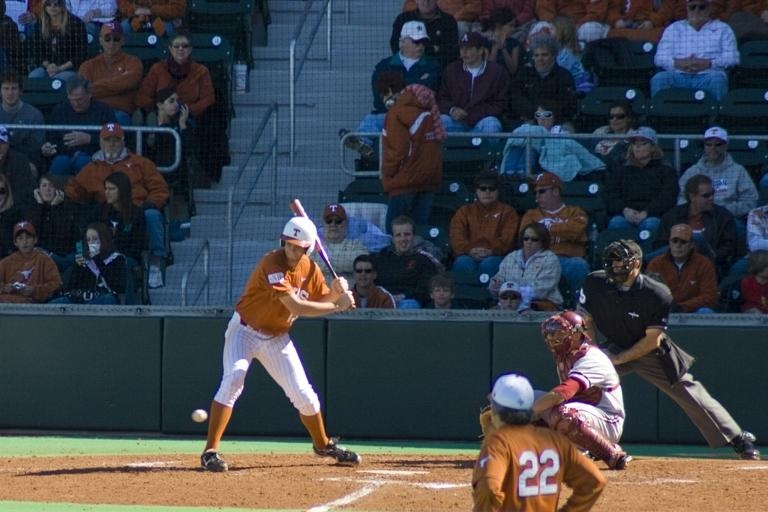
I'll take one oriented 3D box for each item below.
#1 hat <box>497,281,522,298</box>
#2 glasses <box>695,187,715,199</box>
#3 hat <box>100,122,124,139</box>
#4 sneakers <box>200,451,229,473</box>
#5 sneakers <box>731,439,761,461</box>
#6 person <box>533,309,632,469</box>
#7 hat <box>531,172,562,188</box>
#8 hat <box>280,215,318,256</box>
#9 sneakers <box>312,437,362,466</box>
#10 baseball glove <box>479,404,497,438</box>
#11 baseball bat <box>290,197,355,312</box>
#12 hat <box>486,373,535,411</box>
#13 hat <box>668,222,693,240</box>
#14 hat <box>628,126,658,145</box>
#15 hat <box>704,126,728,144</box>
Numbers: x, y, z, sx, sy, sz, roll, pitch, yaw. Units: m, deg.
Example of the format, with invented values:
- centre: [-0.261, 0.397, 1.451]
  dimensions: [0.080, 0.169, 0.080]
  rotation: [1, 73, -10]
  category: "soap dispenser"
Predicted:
- centre: [1.473, 0.408, 21.572]
  dimensions: [0.221, 0.180, 0.385]
  rotation: [2, -15, 3]
  category: "hat"
- centre: [3.819, -0.762, 21.833]
  dimensions: [0.170, 0.137, 0.044]
  rotation: [1, 13, 1]
  category: "glasses"
- centre: [-3.315, -1.549, 22.440]
  dimensions: [0.223, 0.183, 0.382]
  rotation: [1, -3, -7]
  category: "hat"
- centre: [-1.846, 2.233, 19.866]
  dimensions: [0.316, 0.154, 0.169]
  rotation: [25, 37, -1]
  category: "sneakers"
- centre: [3.999, 2.141, 20.330]
  dimensions: [0.274, 0.105, 0.126]
  rotation: [35, 15, 23]
  category: "sneakers"
- centre: [2.053, 1.393, 19.608]
  dimensions: [1.048, 1.687, 1.196]
  rotation: [-4, 7, -11]
  category: "person"
- centre: [1.986, -0.916, 22.038]
  dimensions: [0.233, 0.139, 0.184]
  rotation: [6, 1, -2]
  category: "hat"
- centre: [-0.910, -0.237, 19.914]
  dimensions: [0.345, 0.315, 0.549]
  rotation: [9, -8, 18]
  category: "hat"
- centre: [-0.486, 2.146, 20.251]
  dimensions: [0.597, 0.297, 0.231]
  rotation: [14, 26, -4]
  category: "sneakers"
- centre: [1.091, 1.739, 19.506]
  dimensions: [0.236, 0.330, 0.331]
  rotation: [-2, 8, -1]
  category: "baseball glove"
- centre: [-0.678, 0.018, 20.768]
  dimensions: [0.181, 1.426, 0.071]
  rotation: [-23, 2, 5]
  category: "baseball bat"
- centre: [1.242, 1.341, 18.243]
  dimensions: [0.590, 0.391, 0.481]
  rotation: [-1, -3, 28]
  category: "hat"
- centre: [3.480, -0.302, 21.487]
  dimensions: [0.254, 0.178, 0.212]
  rotation: [2, 14, 6]
  category: "hat"
- centre: [3.181, -1.520, 22.400]
  dimensions: [0.201, 0.109, 0.316]
  rotation: [0, -9, 21]
  category: "hat"
- centre: [4.057, -1.494, 22.413]
  dimensions: [0.240, 0.198, 0.420]
  rotation: [1, -8, 10]
  category: "hat"
